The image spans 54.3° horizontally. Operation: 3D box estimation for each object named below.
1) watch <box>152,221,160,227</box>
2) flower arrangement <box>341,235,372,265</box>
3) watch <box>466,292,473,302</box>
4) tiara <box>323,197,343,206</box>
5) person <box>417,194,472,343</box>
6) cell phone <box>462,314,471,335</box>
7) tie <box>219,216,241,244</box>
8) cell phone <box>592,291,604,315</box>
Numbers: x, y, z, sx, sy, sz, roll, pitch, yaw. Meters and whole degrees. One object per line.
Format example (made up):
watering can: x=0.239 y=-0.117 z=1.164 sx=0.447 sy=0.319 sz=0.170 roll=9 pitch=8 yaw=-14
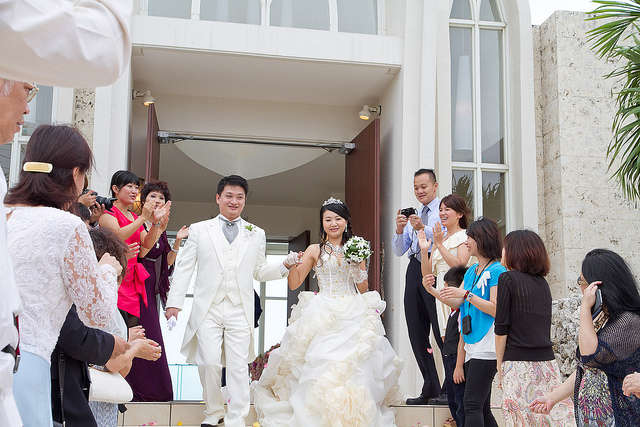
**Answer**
watch: x=-1.457 y=0.093 z=5.526 sx=0.055 sy=0.037 sz=0.108 roll=-1 pitch=-5 yaw=12
flower arrangement: x=0.353 y=0.367 z=5.383 sx=0.207 sy=0.253 sz=0.228 roll=7 pitch=35 yaw=-15
watch: x=1.058 y=0.580 z=4.402 sx=0.014 sy=0.047 sz=0.044 roll=17 pitch=-14 yaw=-29
tiara: x=0.159 y=-0.161 z=7.583 sx=0.240 sy=0.085 sz=0.253 roll=0 pitch=-11 yaw=12
person: x=1.154 y=0.683 z=5.628 sx=0.483 sy=1.675 sz=0.467 roll=-3 pitch=-1 yaw=-10
cell phone: x=1.054 y=0.791 z=4.459 sx=0.058 sy=0.130 sz=0.070 roll=0 pitch=-4 yaw=13
tie: x=-0.799 y=0.151 z=5.513 sx=0.210 sy=0.275 sz=0.040 roll=8 pitch=-35 yaw=-20
cell phone: x=1.554 y=0.491 z=3.469 sx=0.012 sy=0.126 sz=0.073 roll=13 pitch=-34 yaw=9
